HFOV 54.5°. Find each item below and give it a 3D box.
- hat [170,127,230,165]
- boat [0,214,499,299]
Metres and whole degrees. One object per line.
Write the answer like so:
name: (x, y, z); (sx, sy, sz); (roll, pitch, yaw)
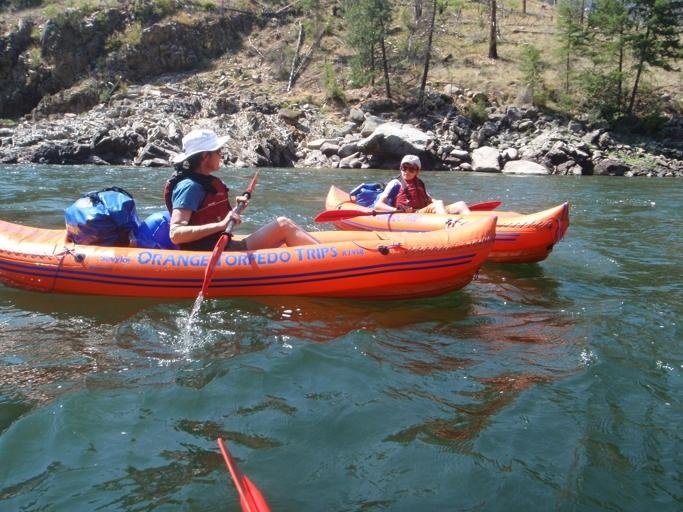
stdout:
hat: (-1.364, -1.093, 6.473); (0.631, 0.169, 0.459); (-20, 20, -6)
boat: (-1.061, 0.111, 7.052); (5.341, 0.719, 1.427); (-2, 3, -1)
